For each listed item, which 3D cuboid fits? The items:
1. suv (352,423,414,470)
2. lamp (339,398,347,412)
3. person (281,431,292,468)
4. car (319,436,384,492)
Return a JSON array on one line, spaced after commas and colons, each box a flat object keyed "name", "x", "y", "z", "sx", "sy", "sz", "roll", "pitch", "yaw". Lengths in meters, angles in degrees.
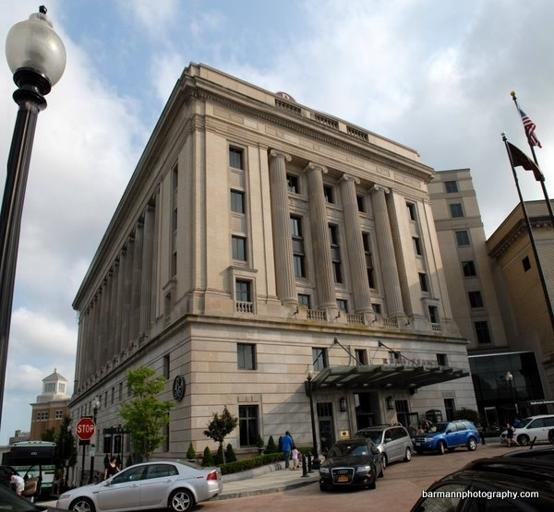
[{"name": "suv", "x": 5.637, "y": 9.738, "z": 21.547, "sx": 3.565, "sy": 1.692, "sz": 2.025, "roll": 20, "pitch": -34, "yaw": -37}, {"name": "lamp", "x": 4.693, "y": 10.529, "z": 29.938, "sx": 0.539, "sy": 0.974, "sz": 0.326, "roll": 14, "pitch": -31, "yaw": -36}, {"name": "person", "x": 0.637, "y": 10.838, "z": 23.576, "sx": 0.584, "sy": 1.840, "sz": 1.079, "roll": -5, "pitch": -24, "yaw": 0}, {"name": "car", "x": 2.752, "y": 7.755, "z": 15.799, "sx": 1.913, "sy": 1.610, "sz": 2.465, "roll": -16, "pitch": -26, "yaw": 22}]
